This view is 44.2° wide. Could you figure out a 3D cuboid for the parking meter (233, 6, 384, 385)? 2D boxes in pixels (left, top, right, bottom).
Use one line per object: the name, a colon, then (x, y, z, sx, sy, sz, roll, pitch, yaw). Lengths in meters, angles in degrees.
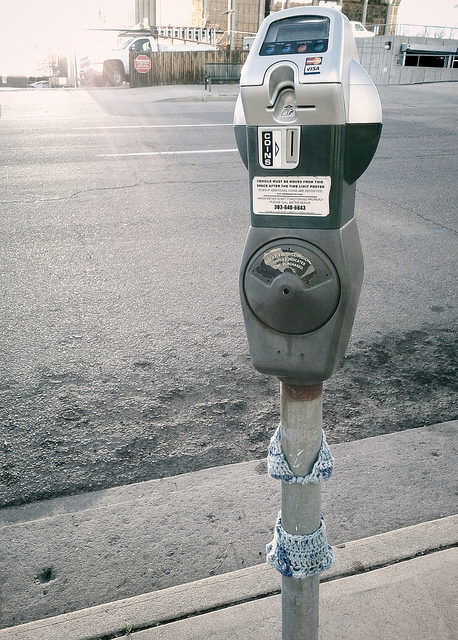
parking meter: (0.140, -0.217, 1.035, 0.256, 0.692, 0.183, 2, 14, 15)
